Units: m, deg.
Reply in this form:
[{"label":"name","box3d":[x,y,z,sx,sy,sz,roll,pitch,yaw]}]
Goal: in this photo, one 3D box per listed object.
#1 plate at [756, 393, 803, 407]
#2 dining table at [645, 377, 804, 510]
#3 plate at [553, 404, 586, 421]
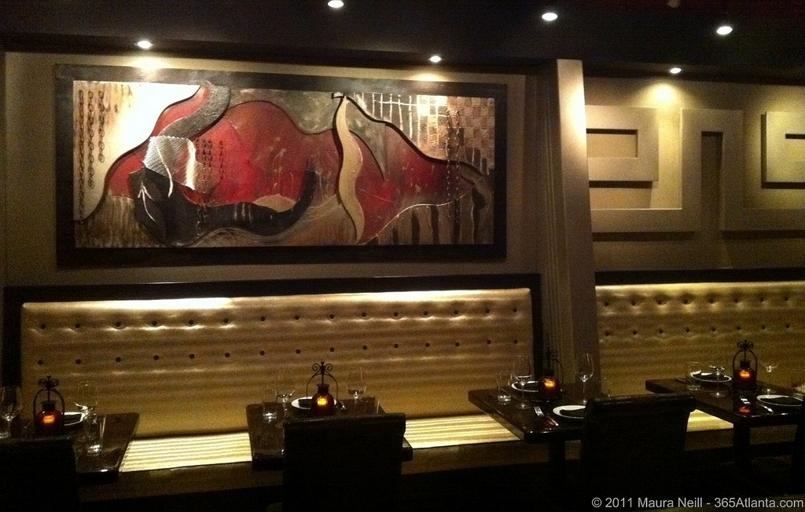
[{"label":"plate","box3d":[2.659,1.018,4.608,0.298,0.046,0.305,-1,4,21]},{"label":"dining table","box3d":[2.303,1.372,4.697,0.632,0.686,1.125,0,-3,-17]},{"label":"plate","box3d":[1.137,1.062,4.460,0.205,0.050,0.244,-2,4,12]}]
